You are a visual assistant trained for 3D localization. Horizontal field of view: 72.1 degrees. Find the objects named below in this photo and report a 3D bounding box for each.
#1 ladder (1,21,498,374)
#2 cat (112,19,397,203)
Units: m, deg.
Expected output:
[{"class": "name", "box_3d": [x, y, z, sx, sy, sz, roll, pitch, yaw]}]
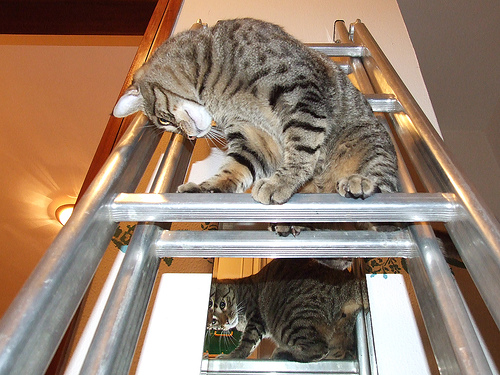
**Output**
[{"class": "ladder", "box_3d": [-0.052, -0.125, 0.949, 0.568, 1.376, 0.188, 0, -56, 1]}, {"class": "cat", "box_3d": [0.051, -0.243, 1.295, 1.013, 0.684, 0.528, 4, -13, 3]}]
